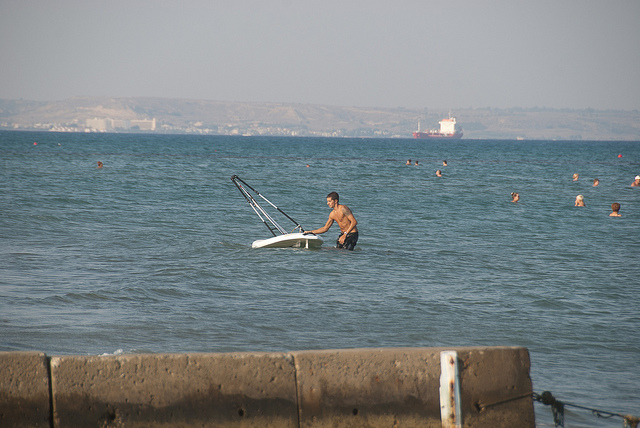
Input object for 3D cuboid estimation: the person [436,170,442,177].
[{"bbox_3d":[8.928,-3.100,91.065,0.389,0.600,0.866,6,10,10],"label":"person"}]
